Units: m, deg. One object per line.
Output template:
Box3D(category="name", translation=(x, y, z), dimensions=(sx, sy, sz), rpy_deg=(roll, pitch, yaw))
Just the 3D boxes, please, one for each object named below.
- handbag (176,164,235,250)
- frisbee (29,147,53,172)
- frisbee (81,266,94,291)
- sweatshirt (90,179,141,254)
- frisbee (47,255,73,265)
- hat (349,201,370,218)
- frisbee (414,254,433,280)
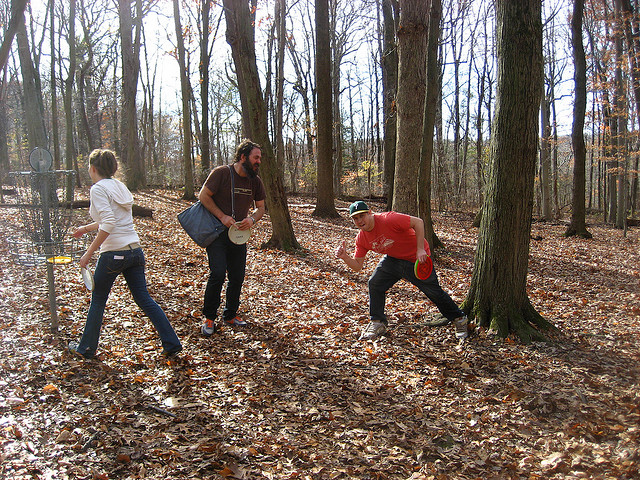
Box3D(category="handbag", translation=(-1.489, -0.460, 7.673), dimensions=(0.819, 1.156, 0.461), rpy_deg=(37, 18, 35))
Box3D(category="frisbee", translation=(-3.686, -1.060, 7.168), dimensions=(0.279, 0.317, 0.151), rpy_deg=(-7, 16, -31))
Box3D(category="frisbee", translation=(-2.828, 0.484, 6.623), dimensions=(0.058, 0.266, 0.168), rpy_deg=(-14, 22, -12))
Box3D(category="sweatshirt", translation=(-2.590, -0.280, 6.804), dimensions=(0.546, 0.923, 0.437), rpy_deg=(-8, 17, -34))
Box3D(category="frisbee", translation=(-3.394, 0.265, 7.086), dimensions=(0.196, 0.027, 0.193), rpy_deg=(5, 22, -26))
Box3D(category="hat", translation=(0.537, -0.420, 7.488), dimensions=(0.169, 0.144, 0.241), rpy_deg=(-20, 4, 30))
Box3D(category="frisbee", translation=(1.429, 0.394, 7.553), dimensions=(0.345, 0.400, 0.056), rpy_deg=(-4, 8, -2))
